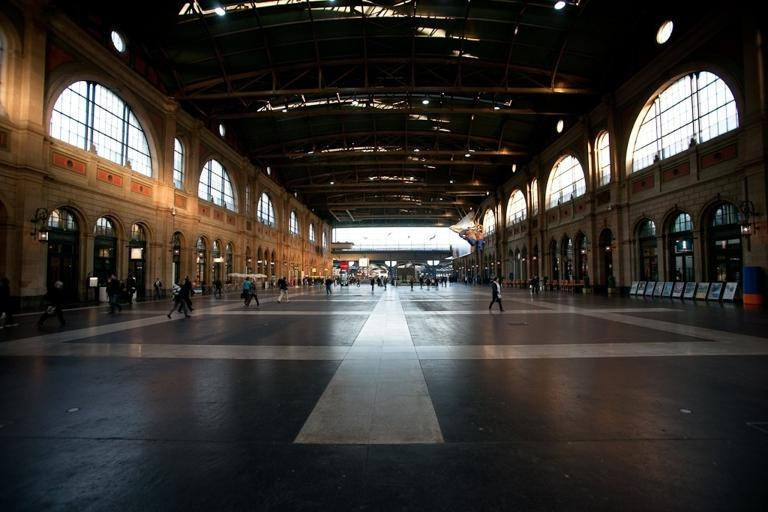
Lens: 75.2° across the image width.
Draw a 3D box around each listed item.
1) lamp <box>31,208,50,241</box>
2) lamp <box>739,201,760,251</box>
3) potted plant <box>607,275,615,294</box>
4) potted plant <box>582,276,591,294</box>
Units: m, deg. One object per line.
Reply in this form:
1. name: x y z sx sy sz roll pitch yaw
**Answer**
1. lamp: -17.455 -1.583 25.554 0.494 1.778 0.844 -2 -5 6
2. lamp: 18.276 -1.534 24.967 0.397 2.521 0.826 1 -5 -32
3. potted plant: 15.727 2.009 34.406 0.504 1.235 0.425 -4 -5 26
4. potted plant: 15.124 2.120 37.163 0.439 1.238 0.754 -3 -5 18
